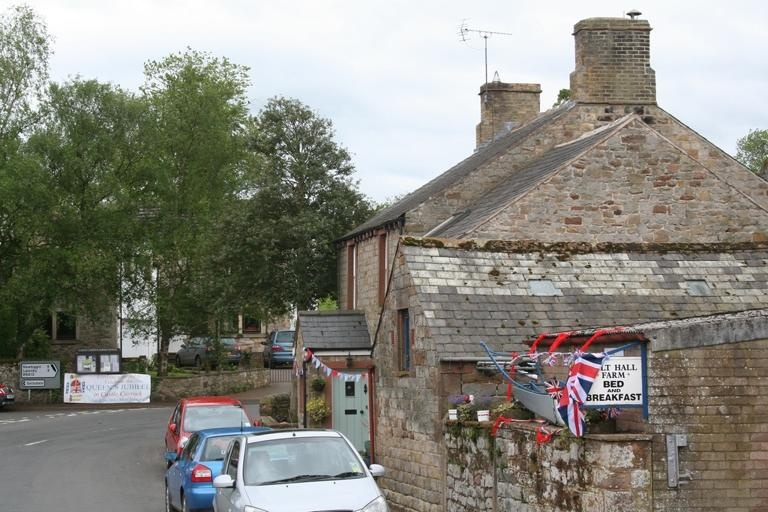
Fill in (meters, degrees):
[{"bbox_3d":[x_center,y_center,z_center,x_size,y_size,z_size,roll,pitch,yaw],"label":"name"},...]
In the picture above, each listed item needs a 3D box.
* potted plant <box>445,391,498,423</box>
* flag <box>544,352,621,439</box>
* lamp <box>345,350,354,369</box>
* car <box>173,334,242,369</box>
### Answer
[{"bbox_3d":[2.547,4.318,34.551,1.403,0.712,0.651,-4,1,2],"label":"potted plant"},{"bbox_3d":[5.174,3.647,30.817,2.005,2.601,0.816,1,8,11],"label":"flag"},{"bbox_3d":[-1.218,3.796,43.175,0.319,0.358,0.236,-5,2,-36],"label":"lamp"},{"bbox_3d":[-9.664,5.333,66.389,1.741,1.325,3.808,2,-3,-31],"label":"car"}]
